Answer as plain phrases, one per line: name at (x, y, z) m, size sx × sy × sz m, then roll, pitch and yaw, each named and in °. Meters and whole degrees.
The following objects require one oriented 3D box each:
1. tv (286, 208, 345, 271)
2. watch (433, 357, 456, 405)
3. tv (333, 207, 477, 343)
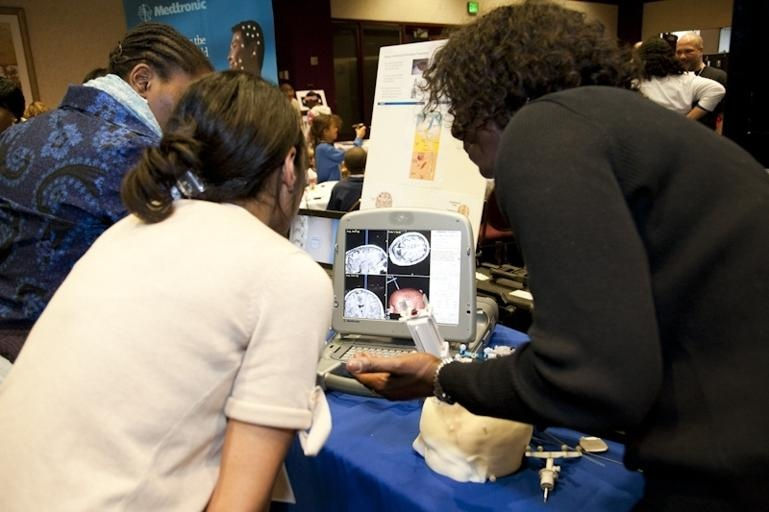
tv at (-0.273, -0.057, 2.075) m, size 0.031 × 0.218 × 0.295 m, roll 5°, pitch -1°, yaw 31°
watch at (0.117, 0.258, 1.129) m, size 0.041 × 0.086 × 0.065 m, roll -7°, pitch 6°, yaw 11°
tv at (0.069, 0.065, 1.629) m, size 0.397 × 0.363 × 0.079 m, roll 0°, pitch -6°, yaw 13°
